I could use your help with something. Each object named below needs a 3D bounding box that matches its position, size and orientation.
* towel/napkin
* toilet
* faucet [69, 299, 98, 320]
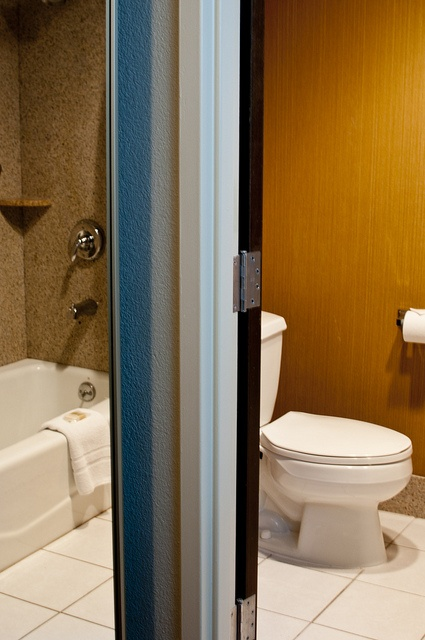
[{"bbox_3d":[-0.410,0.436,1.879,0.146,0.222,0.188,-2,10,44],"label":"towel/napkin"},{"bbox_3d":[0.317,0.375,1.821,0.563,0.765,0.362,4,10,31],"label":"toilet"},{"bbox_3d":[-0.525,-0.037,2.319,0.104,0.096,0.205,0,6,-11],"label":"faucet"}]
